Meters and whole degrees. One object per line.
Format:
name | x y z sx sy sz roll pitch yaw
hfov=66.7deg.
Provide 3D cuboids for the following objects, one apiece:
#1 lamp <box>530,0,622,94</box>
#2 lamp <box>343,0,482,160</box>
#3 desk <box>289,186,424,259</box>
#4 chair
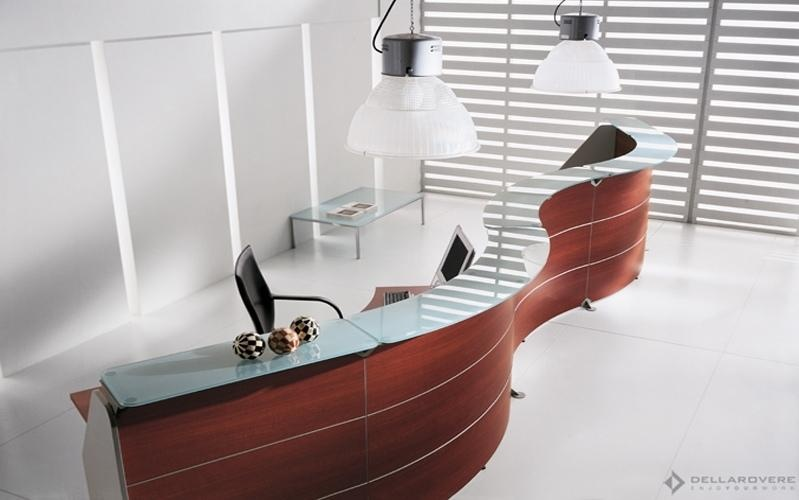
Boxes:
lamp | 1.679 -1.821 5.693 0.917 0.906 0.887 1 20 17
lamp | -0.043 -1.015 3.681 0.929 0.960 0.905 -13 22 -29
desk | -0.570 -0.394 8.006 1.055 0.564 1.445 15 25 30
chair | -1.096 0.387 5.914 0.790 0.980 0.555 3 25 9
